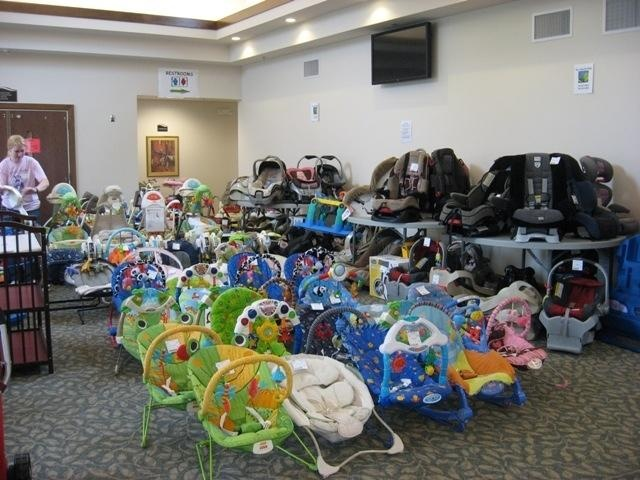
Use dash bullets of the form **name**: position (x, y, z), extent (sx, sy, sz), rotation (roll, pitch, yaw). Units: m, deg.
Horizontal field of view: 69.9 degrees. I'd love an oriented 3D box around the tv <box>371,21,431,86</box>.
- **tv**: position (1.340, -3.043, 7.415), extent (0.129, 0.725, 0.997), rotation (-9, 11, -40)
